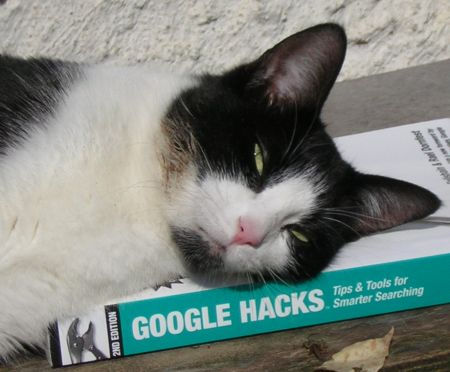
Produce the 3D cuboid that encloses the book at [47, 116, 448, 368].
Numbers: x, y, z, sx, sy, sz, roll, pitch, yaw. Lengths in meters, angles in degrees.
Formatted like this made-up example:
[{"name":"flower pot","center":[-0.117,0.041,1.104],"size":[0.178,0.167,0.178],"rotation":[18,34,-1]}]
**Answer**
[{"name":"book","center":[0.073,0.100,1.037],"size":[0.674,0.098,0.363],"rotation":[-4,46,-14]}]
